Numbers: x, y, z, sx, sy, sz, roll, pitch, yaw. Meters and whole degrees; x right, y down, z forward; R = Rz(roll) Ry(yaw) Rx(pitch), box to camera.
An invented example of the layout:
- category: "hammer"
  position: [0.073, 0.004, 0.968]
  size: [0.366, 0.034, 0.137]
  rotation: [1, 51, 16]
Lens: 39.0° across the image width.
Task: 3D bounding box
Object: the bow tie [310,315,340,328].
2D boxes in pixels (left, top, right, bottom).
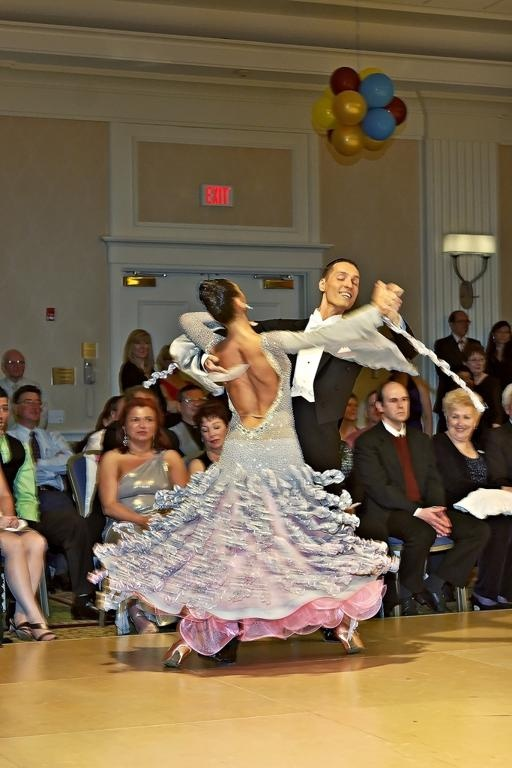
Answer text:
- category: "bow tie"
  position: [0.222, -0.209, 2.372]
  size: [0.069, 0.036, 0.054]
  rotation: [-34, 34, -25]

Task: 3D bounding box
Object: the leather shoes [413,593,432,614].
- category: "leather shoes"
  position: [0.825, 1.098, 3.601]
  size: [0.058, 0.064, 0.161]
  rotation: [-1, -2, 8]

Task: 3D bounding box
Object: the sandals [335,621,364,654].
- category: "sandals"
  position: [0.307, 0.843, 2.407]
  size: [0.067, 0.165, 0.063]
  rotation: [-7, 43, 3]

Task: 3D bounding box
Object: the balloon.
- category: "balloon"
  position: [0.760, -1.948, 5.149]
  size: [0.629, 0.649, 0.449]
  rotation: [0, -4, -28]

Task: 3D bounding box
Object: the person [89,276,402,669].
- category: "person"
  position: [-0.019, 0.278, 2.280]
  size: [0.950, 1.226, 0.402]
  rotation: [-1, -3, -7]

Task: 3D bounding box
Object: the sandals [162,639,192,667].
- category: "sandals"
  position: [-0.251, 0.853, 2.273]
  size: [0.064, 0.099, 0.038]
  rotation: [26, -2, 6]

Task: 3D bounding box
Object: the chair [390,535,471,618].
- category: "chair"
  position: [0.902, 0.957, 3.615]
  size: [0.371, 0.475, 0.453]
  rotation: [-4, -19, 8]

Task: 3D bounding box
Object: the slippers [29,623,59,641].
- category: "slippers"
  position: [-0.851, 0.997, 2.889]
  size: [0.091, 0.056, 0.146]
  rotation: [0, -4, -23]
